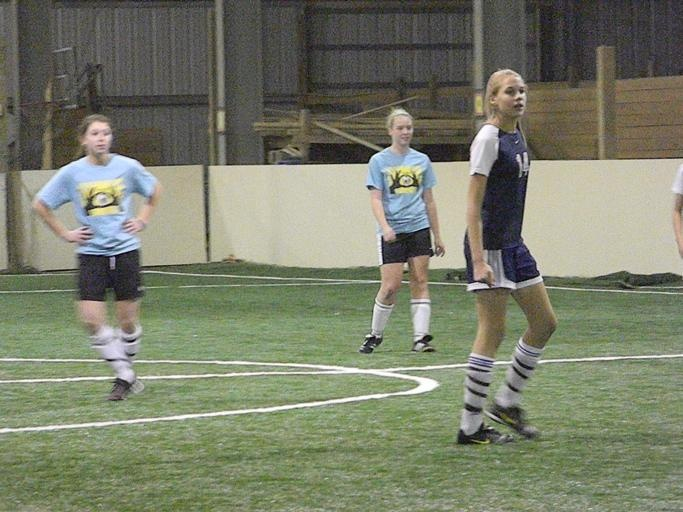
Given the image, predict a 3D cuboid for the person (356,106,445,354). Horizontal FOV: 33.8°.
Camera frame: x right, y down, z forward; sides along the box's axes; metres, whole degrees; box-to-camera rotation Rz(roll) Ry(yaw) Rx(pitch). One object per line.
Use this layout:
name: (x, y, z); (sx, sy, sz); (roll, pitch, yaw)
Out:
person: (0.463, -0.205, 8.789); (0.637, 1.872, 0.489); (-2, 6, 5)

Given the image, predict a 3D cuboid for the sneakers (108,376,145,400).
sneakers: (-1.375, 0.840, 7.232); (0.059, 0.073, 0.152); (-38, -8, 23)

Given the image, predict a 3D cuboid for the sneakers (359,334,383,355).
sneakers: (0.224, 0.669, 8.760); (0.127, 0.140, 0.277); (0, 6, 22)

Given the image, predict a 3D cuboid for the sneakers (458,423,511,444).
sneakers: (0.779, 0.983, 6.293); (0.344, 0.125, 0.115); (-1, -3, -5)

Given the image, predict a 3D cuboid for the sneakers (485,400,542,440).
sneakers: (0.961, 0.912, 6.365); (0.359, 0.153, 0.119); (24, 16, 12)

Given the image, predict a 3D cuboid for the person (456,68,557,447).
person: (0.871, -0.005, 6.277); (0.630, 2.039, 0.266); (-5, 6, -24)

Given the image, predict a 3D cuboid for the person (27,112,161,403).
person: (-1.544, 0.103, 7.289); (0.794, 1.566, 0.514); (-3, 6, -9)

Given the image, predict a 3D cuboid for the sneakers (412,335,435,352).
sneakers: (0.644, 0.667, 8.799); (0.082, 0.099, 0.243); (1, 3, 25)
